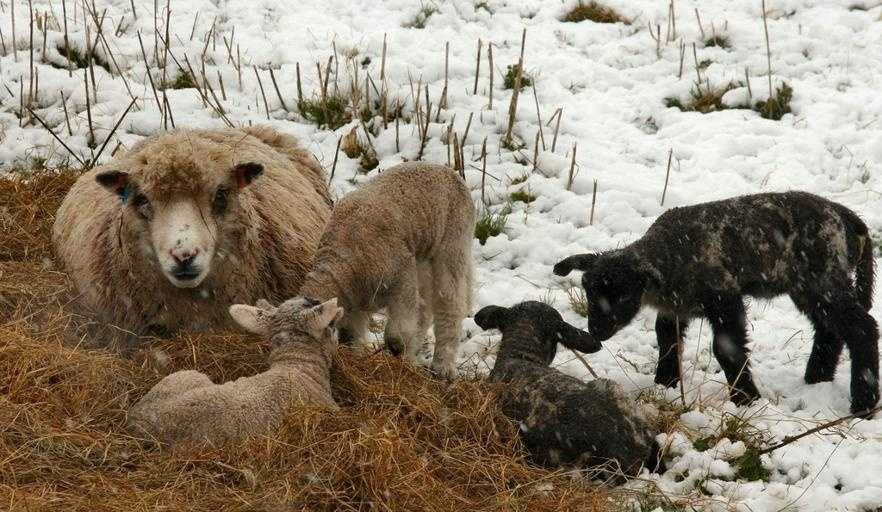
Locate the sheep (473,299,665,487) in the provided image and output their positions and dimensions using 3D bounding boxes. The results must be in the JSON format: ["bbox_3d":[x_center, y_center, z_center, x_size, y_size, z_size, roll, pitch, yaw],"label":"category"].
[{"bbox_3d":[1.214,1.553,11.998,1.281,1.780,2.398,-17,30,-40],"label":"sheep"}]
